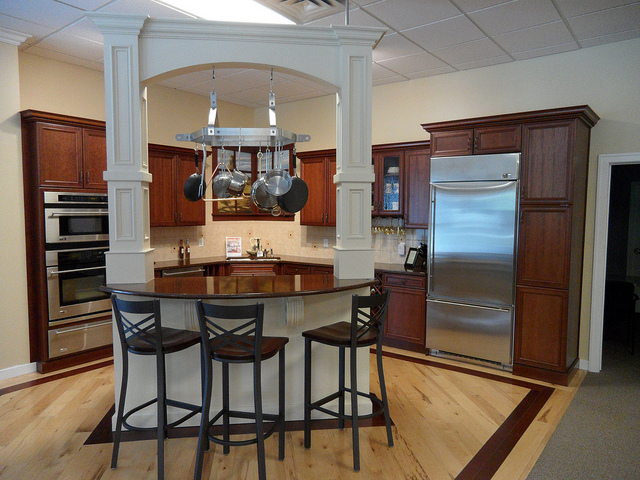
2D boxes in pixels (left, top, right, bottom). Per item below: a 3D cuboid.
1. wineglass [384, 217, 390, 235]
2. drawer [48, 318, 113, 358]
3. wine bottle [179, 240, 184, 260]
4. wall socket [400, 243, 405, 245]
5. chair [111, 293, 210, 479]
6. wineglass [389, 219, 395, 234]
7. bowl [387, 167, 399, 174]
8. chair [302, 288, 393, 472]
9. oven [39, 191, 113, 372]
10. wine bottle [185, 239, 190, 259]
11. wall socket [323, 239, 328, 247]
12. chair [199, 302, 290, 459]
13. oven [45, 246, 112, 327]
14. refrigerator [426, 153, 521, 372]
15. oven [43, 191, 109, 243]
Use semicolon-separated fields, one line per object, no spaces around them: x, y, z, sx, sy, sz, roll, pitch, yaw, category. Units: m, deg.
0.943;-0.142;6.843;0.083;0.229;0.087;1;1;3;wineglass
-2.809;1.296;5.953;0.662;0.468;0.329;-13;54;-4;drawer
-2.064;0.136;7.167;0.064;0.265;0.122;-2;13;-8;wine bottle
1.141;0.051;6.735;0.061;0.018;0.078;3;13;13;wall socket
-1.391;1.146;4.081;1.005;1.429;0.719;5;14;20;chair
1.020;-0.190;6.826;0.059;0.203;0.070;5;14;21;wineglass
0.987;-0.946;6.526;0.159;0.090;0.016;8;15;28;bowl
0.226;1.187;4.378;0.711;1.514;0.686;-2;0;-16;chair
-2.901;0.449;5.741;0.834;2.066;0.456;-7;15;-28;oven
-1.997;0.127;7.231;0.074;0.273;0.127;-4;13;-16;wine bottle
0.085;0.045;7.476;0.067;0.118;0.024;8;15;30;wall socket
-0.642;1.136;4.110;0.734;1.436;1.018;-1;13;-6;chair
-2.987;0.476;5.959;0.762;1.018;0.631;-6;15;-42;oven
1.798;0.183;5.742;1.064;2.419;0.617;4;13;16;refrigerator
-2.942;-0.319;5.884;0.707;0.696;0.491;-4;25;-35;oven
